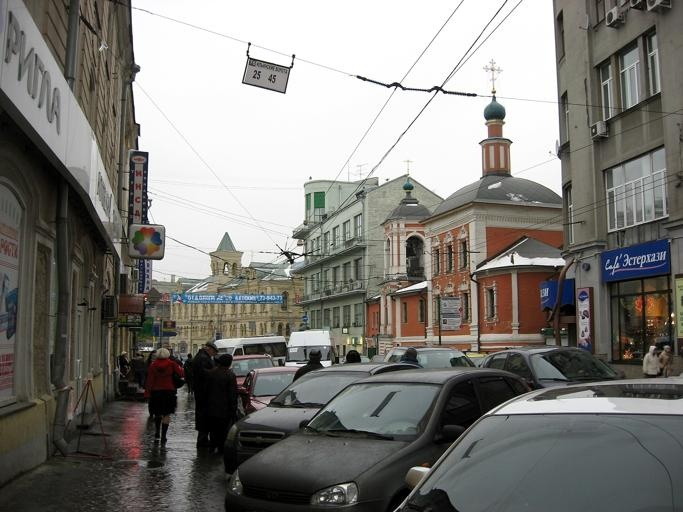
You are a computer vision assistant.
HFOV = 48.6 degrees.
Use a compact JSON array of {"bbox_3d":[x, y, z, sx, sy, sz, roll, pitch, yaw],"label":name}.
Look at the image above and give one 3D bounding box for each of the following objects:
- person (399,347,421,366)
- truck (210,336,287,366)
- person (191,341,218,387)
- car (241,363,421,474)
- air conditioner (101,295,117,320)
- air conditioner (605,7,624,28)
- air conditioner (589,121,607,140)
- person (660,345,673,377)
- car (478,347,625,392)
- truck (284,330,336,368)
[{"bbox_3d":[1.748,2.558,19.315,0.538,0.778,0.726,-1,-9,8],"label":"person"},{"bbox_3d":[-4.239,4.397,36.769,3.477,1.850,2.157,3,-11,-11],"label":"truck"},{"bbox_3d":[-3.008,2.475,16.735,0.563,1.118,0.868,4,7,-15],"label":"person"},{"bbox_3d":[-0.411,2.613,13.040,1.328,1.272,3.010,-6,-12,29],"label":"car"},{"bbox_3d":[-7.090,1.571,23.167,0.321,0.683,0.699,0,-4,-8],"label":"air conditioner"},{"bbox_3d":[9.309,-8.194,25.813,0.371,0.657,0.662,9,-19,-11],"label":"air conditioner"},{"bbox_3d":[9.110,-4.496,26.871,0.364,0.645,0.649,5,-7,-11],"label":"air conditioner"},{"bbox_3d":[9.871,3.139,23.030,0.367,0.944,1.328,-5,-10,22],"label":"person"},{"bbox_3d":[4.334,2.361,16.032,1.377,1.048,2.248,1,-20,-23],"label":"car"},{"bbox_3d":[-1.302,3.794,32.000,1.482,1.441,2.624,-2,-13,6],"label":"truck"}]
